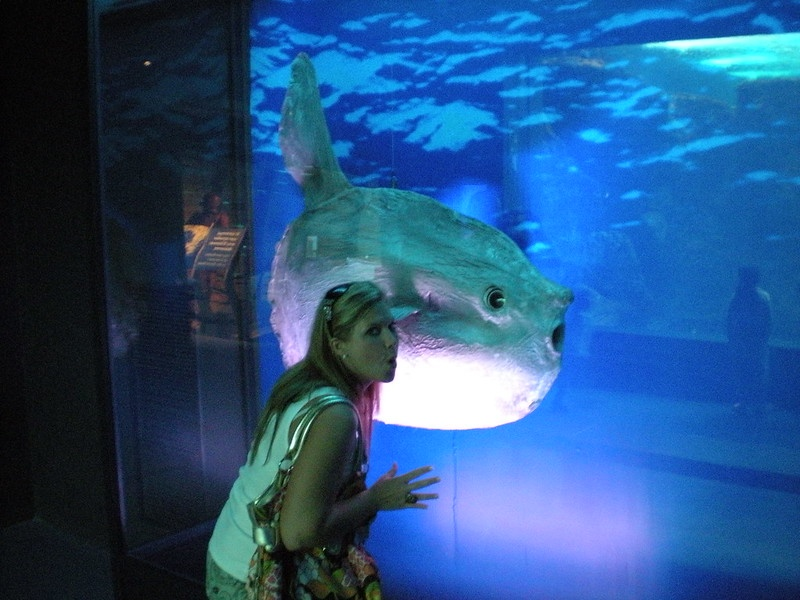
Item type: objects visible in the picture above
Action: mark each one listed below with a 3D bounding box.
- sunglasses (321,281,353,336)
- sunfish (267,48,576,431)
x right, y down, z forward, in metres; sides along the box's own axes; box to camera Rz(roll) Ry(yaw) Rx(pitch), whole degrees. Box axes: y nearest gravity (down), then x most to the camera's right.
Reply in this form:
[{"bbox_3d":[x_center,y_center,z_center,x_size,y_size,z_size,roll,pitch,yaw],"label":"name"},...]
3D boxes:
[{"bbox_3d":[-0.215,0.016,2.402,0.059,0.133,0.135,7,15,38],"label":"sunglasses"},{"bbox_3d":[0.092,-0.248,3.299,1.538,1.492,1.066,16,20,18],"label":"sunfish"}]
